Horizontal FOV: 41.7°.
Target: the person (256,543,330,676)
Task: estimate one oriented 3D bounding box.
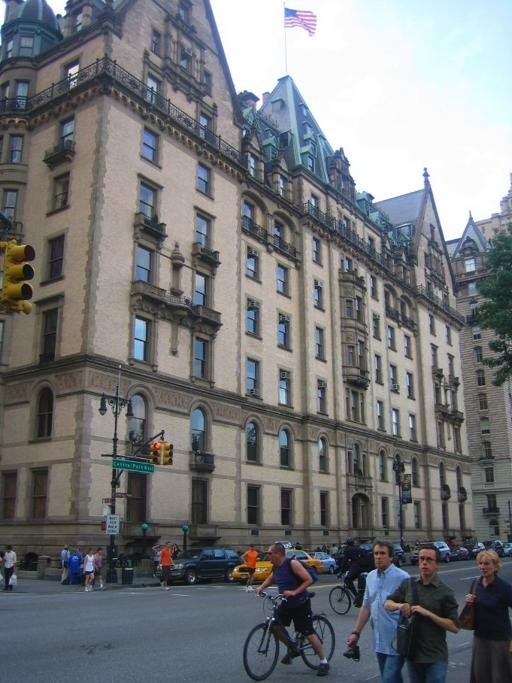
[{"bbox_3d":[0.524,3.482,8.730,0.753,1.654,1.008,-3,-18,5],"label":"person"}]

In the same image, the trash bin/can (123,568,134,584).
[{"bbox_3d":[-5.368,9.750,27.939,0.404,0.618,0.707,4,-18,-15],"label":"trash bin/can"}]

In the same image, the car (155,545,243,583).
[{"bbox_3d":[-2.520,10.232,30.537,3.284,1.370,1.846,18,-29,-36],"label":"car"}]

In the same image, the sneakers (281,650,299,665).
[{"bbox_3d":[0.445,4.264,9.067,0.151,0.174,0.396,-7,-41,-12],"label":"sneakers"}]

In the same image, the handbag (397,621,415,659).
[{"bbox_3d":[1.243,2.439,5.534,0.157,0.308,0.099,-5,-18,11],"label":"handbag"}]
